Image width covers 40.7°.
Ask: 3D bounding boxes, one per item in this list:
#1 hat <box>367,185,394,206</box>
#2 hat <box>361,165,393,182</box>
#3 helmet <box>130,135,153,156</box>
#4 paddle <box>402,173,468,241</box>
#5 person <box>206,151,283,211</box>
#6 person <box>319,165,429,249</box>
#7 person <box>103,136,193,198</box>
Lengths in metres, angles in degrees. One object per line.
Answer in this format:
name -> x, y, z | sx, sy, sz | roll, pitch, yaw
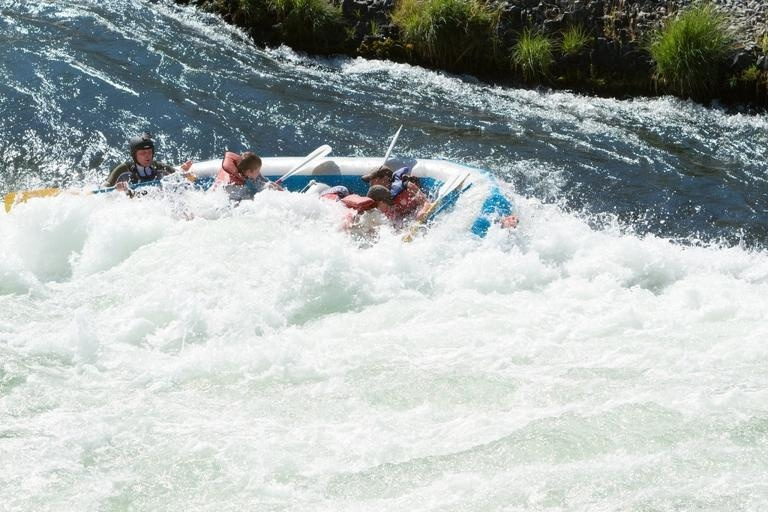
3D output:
hat -> -0.065, -0.765, 13.006 | 0.221, 0.136, 0.311 | 22, 9, 40
hat -> -0.080, -1.069, 13.356 | 0.337, 0.130, 0.189 | -1, 2, -9
helmet -> -3.192, -1.459, 13.666 | 0.270, 0.237, 0.321 | -5, 14, -21
paddle -> 0.659, -0.594, 13.204 | 0.237, 0.177, 1.341 | 17, 45, 39
person -> -1.845, -0.957, 13.566 | 0.924, 1.069, 0.638 | -6, 61, -5
person -> -0.137, -0.594, 13.367 | 1.396, 0.484, 0.883 | -2, 43, -22
person -> -3.094, -1.198, 13.527 | 1.187, 0.651, 0.700 | -16, 37, -39
